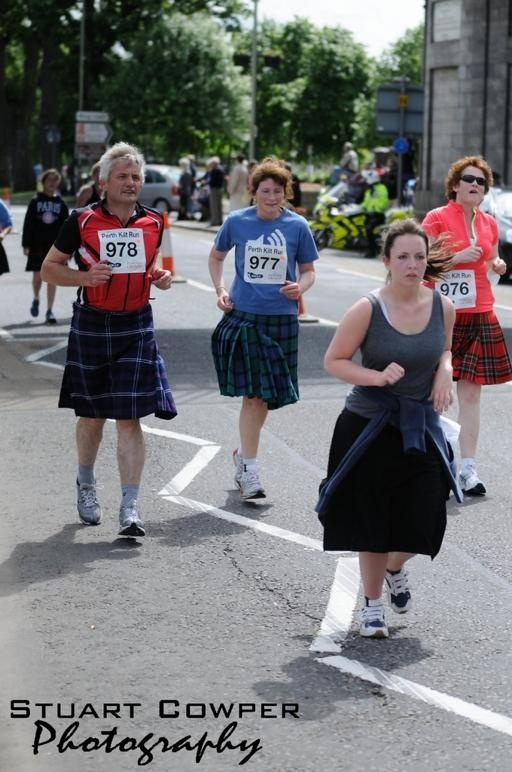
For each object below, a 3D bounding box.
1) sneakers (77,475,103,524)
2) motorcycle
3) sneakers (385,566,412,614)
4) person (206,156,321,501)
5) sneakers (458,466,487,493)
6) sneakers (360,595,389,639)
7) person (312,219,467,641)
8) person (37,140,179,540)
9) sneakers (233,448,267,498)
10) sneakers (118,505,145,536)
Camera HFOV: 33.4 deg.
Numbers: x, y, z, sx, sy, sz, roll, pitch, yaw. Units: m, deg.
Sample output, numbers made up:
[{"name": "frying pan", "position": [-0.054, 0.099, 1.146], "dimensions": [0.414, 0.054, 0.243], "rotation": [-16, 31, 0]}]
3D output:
[{"name": "sneakers", "position": [-0.863, 0.583, 4.348], "dimensions": [0.097, 0.110, 0.264], "rotation": [-6, 25, -14]}, {"name": "motorcycle", "position": [2.725, -4.272, 22.879], "dimensions": [3.054, 1.492, 1.248], "rotation": [5, 4, -5]}, {"name": "sneakers", "position": [0.507, 0.737, 3.057], "dimensions": [0.073, 0.187, 0.089], "rotation": [-11, -24, -2]}, {"name": "person", "position": [0.015, -0.295, 4.795], "dimensions": [0.618, 1.872, 0.477], "rotation": [1, 5, 6]}, {"name": "sneakers", "position": [1.243, 0.562, 4.952], "dimensions": [0.099, 0.105, 0.238], "rotation": [-3, -3, -10]}, {"name": "sneakers", "position": [0.392, 0.796, 2.898], "dimensions": [0.066, 0.074, 0.174], "rotation": [0, -7, -1]}, {"name": "person", "position": [0.474, 0.136, 2.955], "dimensions": [0.469, 1.426, 0.521], "rotation": [3, 5, 32]}, {"name": "person", "position": [-0.719, -0.252, 4.239], "dimensions": [0.615, 1.921, 0.620], "rotation": [1, 5, 8]}, {"name": "sneakers", "position": [-0.064, 0.497, 4.882], "dimensions": [0.119, 0.146, 0.337], "rotation": [-15, 25, -11]}, {"name": "sneakers", "position": [-0.588, 0.639, 4.038], "dimensions": [0.116, 0.130, 0.120], "rotation": [0, 4, -8]}]
